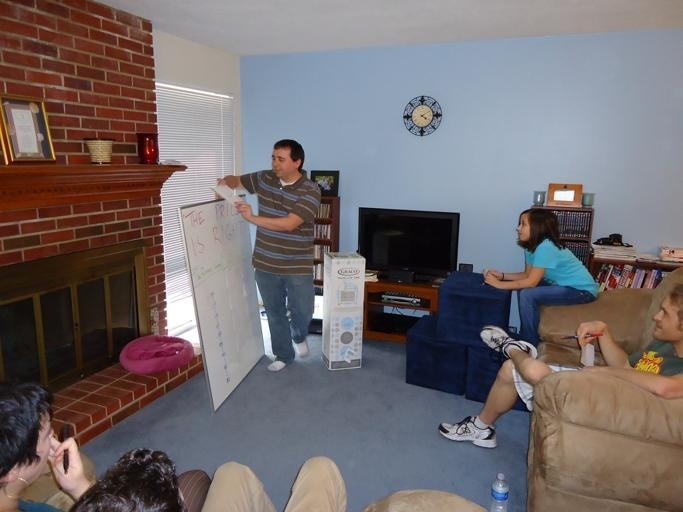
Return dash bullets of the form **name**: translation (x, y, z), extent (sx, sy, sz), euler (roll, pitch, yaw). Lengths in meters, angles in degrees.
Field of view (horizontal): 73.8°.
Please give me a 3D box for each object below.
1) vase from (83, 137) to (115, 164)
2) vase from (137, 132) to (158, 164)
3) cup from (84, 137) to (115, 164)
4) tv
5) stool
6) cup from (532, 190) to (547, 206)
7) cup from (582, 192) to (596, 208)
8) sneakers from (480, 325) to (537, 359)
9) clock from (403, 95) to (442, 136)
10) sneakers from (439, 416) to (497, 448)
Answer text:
- **vase**: translation (-1.654, -0.717, 3.158), extent (0.176, 0.144, 0.184), euler (6, 10, 30)
- **vase**: translation (-1.499, -0.820, 3.502), extent (0.175, 0.239, 0.162), euler (0, 11, 0)
- **cup**: translation (-1.675, -0.720, 3.171), extent (0.176, 0.144, 0.184), euler (0, 9, 0)
- **tv**: translation (0.711, -0.108, 4.555), extent (0.724, 0.505, 0.214), euler (4, 16, 14)
- **stool**: translation (1.109, 0.643, 3.854), extent (0.925, 0.817, 0.929), euler (3, 9, 19)
- **cup**: translation (1.834, -0.533, 4.232), extent (0.150, 0.183, 0.133), euler (0, 4, 0)
- **cup**: translation (2.227, -0.513, 4.127), extent (0.124, 0.121, 0.121), euler (0, 6, 0)
- **sneakers**: translation (1.143, 0.600, 3.135), extent (0.361, 0.122, 0.155), euler (22, 20, 11)
- **clock**: translation (0.840, -1.404, 4.667), extent (0.381, 0.381, 0.375), euler (1, 43, 12)
- **sneakers**: translation (0.872, 1.184, 3.147), extent (0.424, 0.194, 0.157), euler (4, 2, 21)
